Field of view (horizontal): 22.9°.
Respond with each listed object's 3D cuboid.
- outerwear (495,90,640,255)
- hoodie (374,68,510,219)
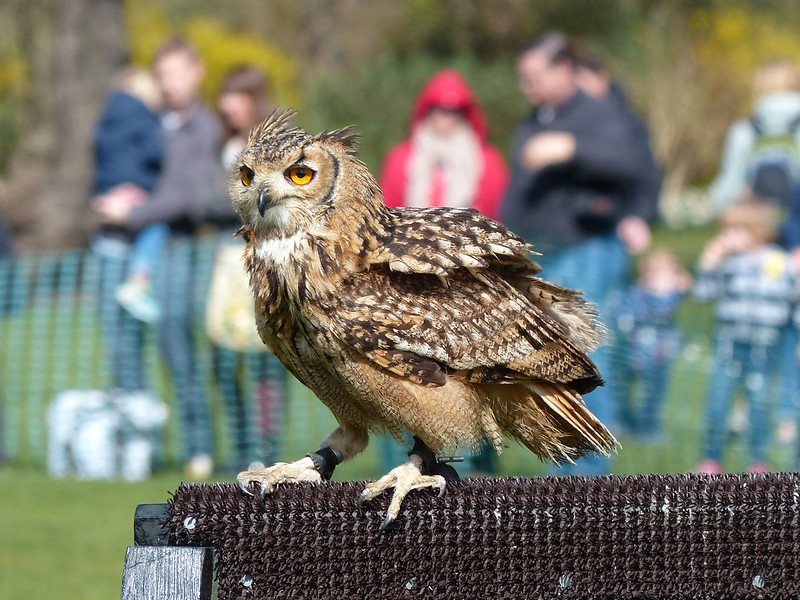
[{"bbox_3d":[0.950,-0.849,13.782,1.191,1.149,0.865,2,-6,-13],"label":"outerwear"},{"bbox_3d":[0.311,-0.953,13.664,0.659,0.236,1.020,1,-27,6],"label":"hoodie"}]
